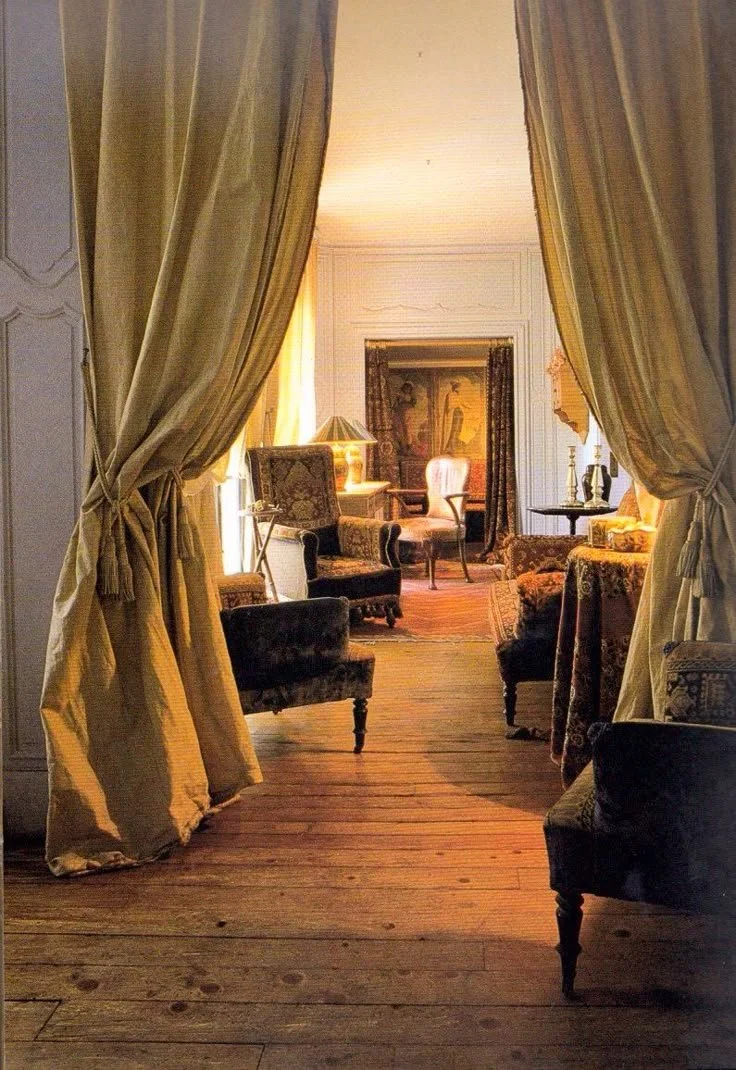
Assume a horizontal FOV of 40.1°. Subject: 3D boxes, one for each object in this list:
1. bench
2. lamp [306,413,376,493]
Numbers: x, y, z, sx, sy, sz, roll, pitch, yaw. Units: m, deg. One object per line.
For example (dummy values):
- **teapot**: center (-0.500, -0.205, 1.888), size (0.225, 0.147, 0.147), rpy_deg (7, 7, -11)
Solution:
- **bench**: center (0.720, 0.341, 3.751), size (0.636, 0.552, 1.116), rpy_deg (0, 5, 9)
- **lamp**: center (-0.152, -0.540, 6.697), size (0.570, 0.509, 0.516), rpy_deg (-1, 2, -7)
